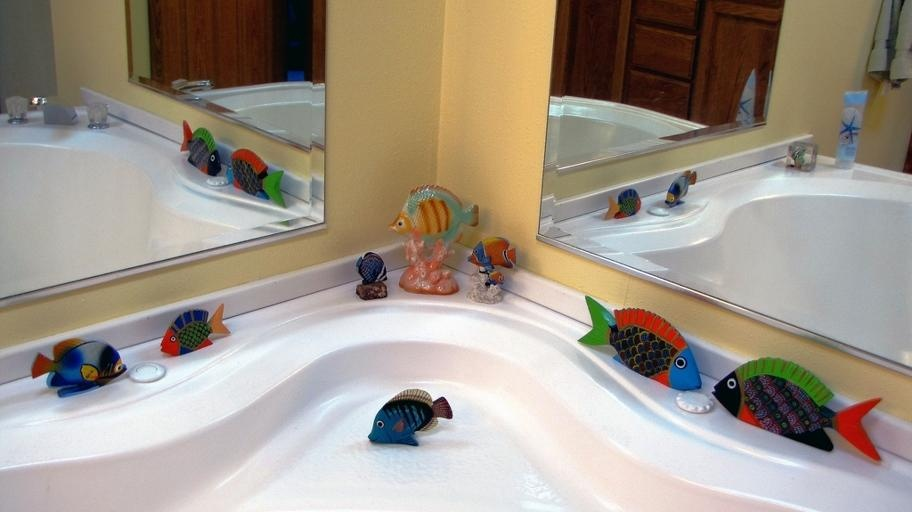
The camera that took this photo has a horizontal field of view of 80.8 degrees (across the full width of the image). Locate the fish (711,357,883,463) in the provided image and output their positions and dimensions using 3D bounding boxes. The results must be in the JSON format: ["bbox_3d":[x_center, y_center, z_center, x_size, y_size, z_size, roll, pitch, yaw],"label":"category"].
[{"bbox_3d":[0.842,0.368,1.330,0.366,0.202,0.056,8,19,26],"label":"fish"}]

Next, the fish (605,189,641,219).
[{"bbox_3d":[0.497,-0.157,1.586,0.087,0.068,0.013,2,18,36],"label":"fish"}]

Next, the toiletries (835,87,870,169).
[{"bbox_3d":[0.964,-0.312,1.315,0.049,0.182,0.024,11,20,33],"label":"toiletries"}]

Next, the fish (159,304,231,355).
[{"bbox_3d":[-0.733,0.208,1.493,0.207,0.126,0.048,-25,20,-31],"label":"fish"}]

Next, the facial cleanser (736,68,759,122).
[{"bbox_3d":[0.758,-0.414,1.395,0.041,0.133,0.012,8,19,28],"label":"facial cleanser"}]

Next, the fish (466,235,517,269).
[{"bbox_3d":[0.122,-0.011,1.769,0.108,0.081,0.019,2,-2,2],"label":"fish"}]

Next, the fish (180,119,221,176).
[{"bbox_3d":[-0.710,-0.311,1.527,0.092,0.122,0.132,-23,32,-36],"label":"fish"}]
